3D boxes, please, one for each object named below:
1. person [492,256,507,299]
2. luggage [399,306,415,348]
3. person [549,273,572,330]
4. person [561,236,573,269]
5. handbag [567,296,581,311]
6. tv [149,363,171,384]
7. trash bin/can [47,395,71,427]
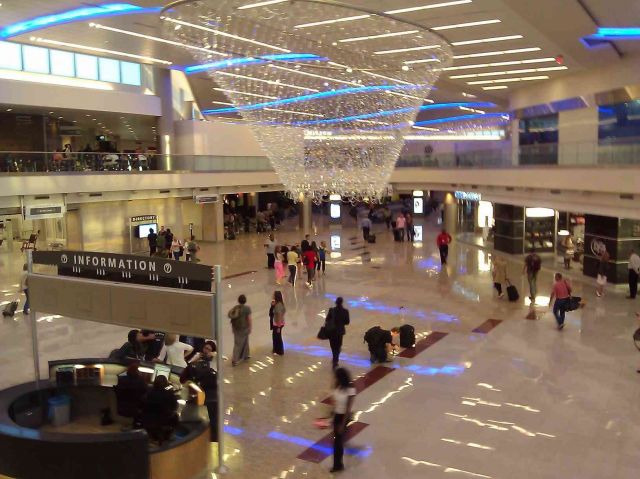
[{"bbox_3d":[6.185,1.215,16.118,0.456,1.477,1.822,0,6,21],"label":"person"},{"bbox_3d":[2.324,2.373,12.516,0.544,0.948,0.536,-3,3,-43],"label":"luggage"},{"bbox_3d":[6.472,1.638,12.587,0.456,1.554,0.837,1,6,27],"label":"person"},{"bbox_3d":[10.399,0.535,19.600,0.374,1.407,0.427,0,6,20],"label":"person"},{"bbox_3d":[6.786,1.704,12.436,0.393,0.353,0.253,-6,7,-39],"label":"handbag"},{"bbox_3d":[-2.776,2.324,8.212,0.388,0.349,0.272,1,3,-3],"label":"tv"},{"bbox_3d":[-4.602,3.043,8.282,0.319,0.485,0.212,-6,7,-38],"label":"trash bin/can"}]
